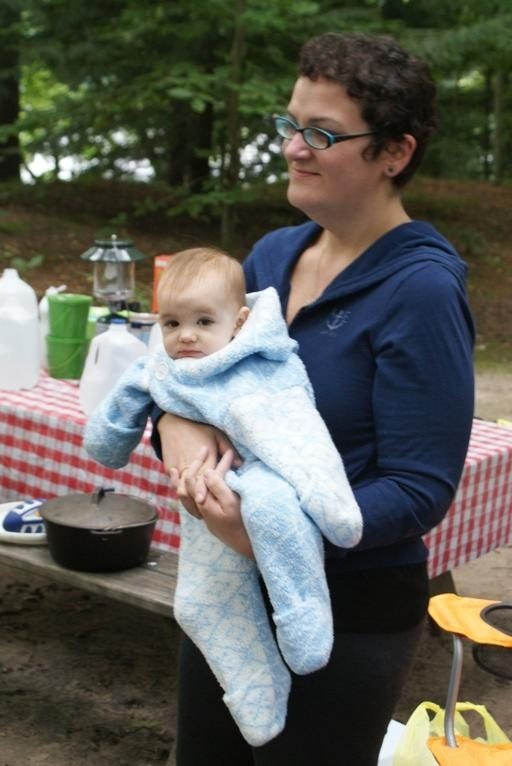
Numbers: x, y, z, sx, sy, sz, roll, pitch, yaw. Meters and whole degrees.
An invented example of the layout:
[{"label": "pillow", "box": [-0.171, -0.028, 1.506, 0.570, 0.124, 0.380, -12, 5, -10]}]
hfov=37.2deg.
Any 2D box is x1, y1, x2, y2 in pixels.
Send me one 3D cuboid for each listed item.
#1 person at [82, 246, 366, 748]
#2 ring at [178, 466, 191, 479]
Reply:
[{"label": "person", "box": [-0.172, 0.094, 1.311, 0.511, 0.687, 0.763, 8, 15, 23]}, {"label": "ring", "box": [-0.108, 0.133, 1.137, 0.008, 0.021, 0.021, 48, -10, -7]}]
